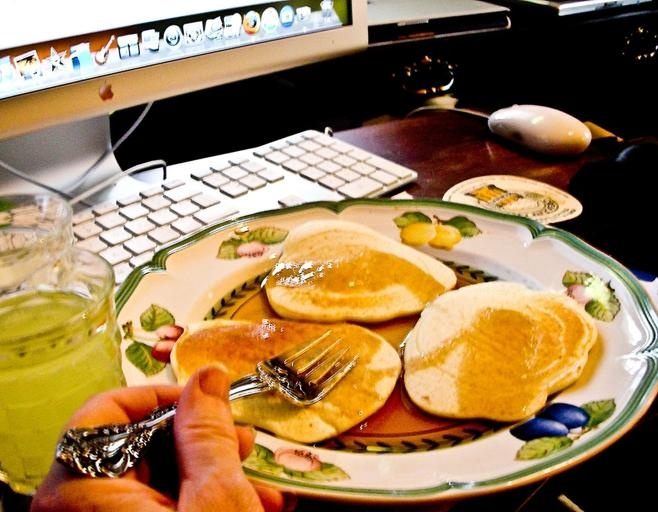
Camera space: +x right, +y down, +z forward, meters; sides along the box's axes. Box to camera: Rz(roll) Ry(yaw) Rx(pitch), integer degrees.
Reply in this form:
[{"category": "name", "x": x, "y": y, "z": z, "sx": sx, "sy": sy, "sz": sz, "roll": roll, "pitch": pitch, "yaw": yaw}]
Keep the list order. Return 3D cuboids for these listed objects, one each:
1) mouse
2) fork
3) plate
[{"category": "mouse", "x": 0.389, "y": -0.228, "z": 1.006, "sx": 0.164, "sy": 0.055, "sz": 0.096, "roll": 27, "pitch": 42, "yaw": 31}, {"category": "fork", "x": -0.058, "y": 0.117, "z": 0.474, "sx": 0.318, "sy": 0.044, "sz": 0.073, "roll": -17, "pitch": 43, "yaw": -31}, {"category": "plate", "x": 0.040, "y": 0.090, "z": 0.514, "sx": 0.340, "sy": 0.044, "sz": 0.332, "roll": 16, "pitch": 35, "yaw": 23}]
